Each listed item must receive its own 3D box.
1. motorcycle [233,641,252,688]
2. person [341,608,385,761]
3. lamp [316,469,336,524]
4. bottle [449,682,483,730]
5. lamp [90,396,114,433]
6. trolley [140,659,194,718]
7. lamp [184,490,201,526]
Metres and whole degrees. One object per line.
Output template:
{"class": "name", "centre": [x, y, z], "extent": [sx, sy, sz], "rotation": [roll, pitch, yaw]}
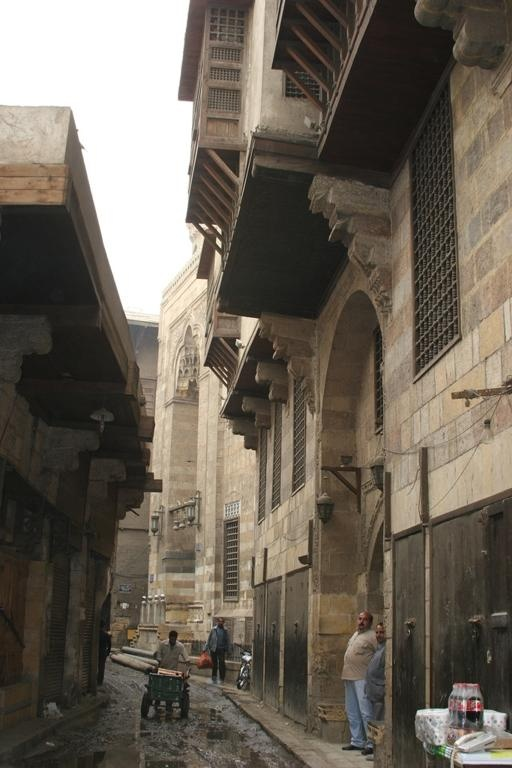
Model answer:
{"class": "motorcycle", "centre": [-0.283, 6.619, 18.650], "extent": [0.536, 0.818, 1.116], "rotation": [-4, -20, 14]}
{"class": "person", "centre": [1.163, 3.298, 8.869], "extent": [0.323, 1.485, 0.920], "rotation": [3, -12, -7]}
{"class": "lamp", "centre": [0.916, 1.504, 10.651], "extent": [0.190, 0.717, 0.225], "rotation": [-13, -23, 43]}
{"class": "bottle", "centre": [0.775, 1.184, 2.944], "extent": [0.146, 0.158, 0.132], "rotation": [3, -13, -2]}
{"class": "lamp", "centre": [-2.064, 0.381, 10.679], "extent": [0.238, 0.710, 0.259], "rotation": [-7, -17, 25]}
{"class": "trolley", "centre": [-1.379, 4.681, 12.322], "extent": [0.576, 0.877, 0.997], "rotation": [1, -23, -2]}
{"class": "lamp", "centre": [-2.345, 4.646, 29.981], "extent": [0.443, 1.359, 1.141], "rotation": [3, -13, -9]}
